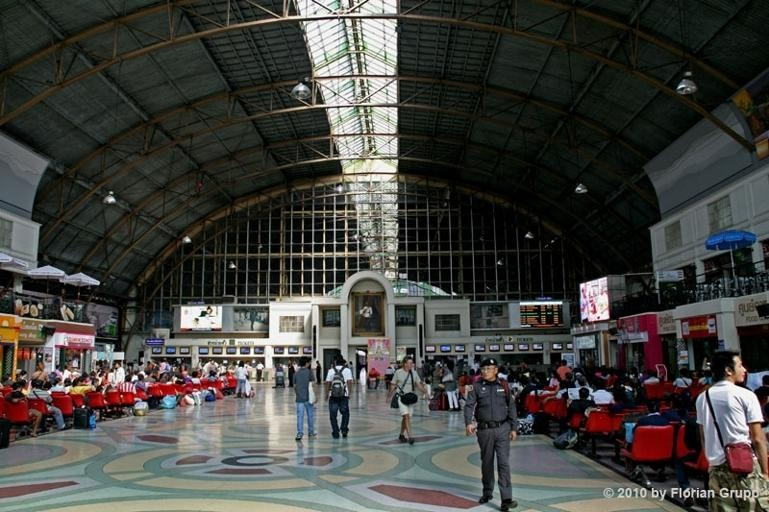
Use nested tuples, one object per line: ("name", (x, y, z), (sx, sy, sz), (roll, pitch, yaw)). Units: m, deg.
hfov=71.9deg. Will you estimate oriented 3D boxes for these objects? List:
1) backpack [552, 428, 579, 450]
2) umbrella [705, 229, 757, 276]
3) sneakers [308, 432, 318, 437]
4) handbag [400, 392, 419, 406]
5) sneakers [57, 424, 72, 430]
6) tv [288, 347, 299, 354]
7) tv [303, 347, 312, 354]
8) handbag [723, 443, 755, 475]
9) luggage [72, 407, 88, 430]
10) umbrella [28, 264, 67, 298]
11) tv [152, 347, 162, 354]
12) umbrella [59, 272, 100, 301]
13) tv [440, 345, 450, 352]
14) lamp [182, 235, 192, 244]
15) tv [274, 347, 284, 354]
("backpack", (5.033, 5.060, 14.714), (0.692, 0.252, 0.450), (-9, -57, 15))
("umbrella", (17.271, -0.226, 26.300), (2.016, 1.908, 1.822), (-5, -31, 14))
("sneakers", (-2.296, 5.654, 16.883), (0.105, 0.116, 0.296), (-4, -20, 8))
("handbag", (0.687, 4.089, 15.248), (0.484, 0.307, 0.348), (2, -23, 1))
("sneakers", (-11.377, 6.028, 18.766), (0.551, 0.169, 0.205), (-6, 12, 20))
("tv", (-8.659, 8.830, 50.125), (0.843, 0.659, 0.186), (0, 2, -13))
("tv", (-7.337, 8.827, 50.057), (0.752, 0.551, 0.357), (1, -23, -2))
("handbag", (5.075, 2.872, 7.563), (0.460, 0.498, 0.262), (2, -30, 16))
("luggage", (-10.737, 5.675, 18.679), (0.587, 0.685, 0.236), (-4, -17, 10))
("umbrella", (-24.676, 1.745, 38.535), (2.723, 1.706, 2.260), (-6, -18, 11))
("tv", (-21.850, 8.930, 50.726), (0.711, 0.576, 0.301), (0, -16, -5))
("umbrella", (-24.154, 2.307, 41.771), (2.708, 1.705, 2.418), (0, -21, -6))
("tv", (5.753, 8.743, 50.474), (1.113, 0.541, 0.707), (-2, -1, 0))
("lamp", (-18.327, -1.603, 48.787), (1.096, 0.478, 1.440), (-5, -1, -6))
("tv", (-10.014, 8.794, 50.019), (0.939, 0.692, 0.151), (-2, -17, 4))
